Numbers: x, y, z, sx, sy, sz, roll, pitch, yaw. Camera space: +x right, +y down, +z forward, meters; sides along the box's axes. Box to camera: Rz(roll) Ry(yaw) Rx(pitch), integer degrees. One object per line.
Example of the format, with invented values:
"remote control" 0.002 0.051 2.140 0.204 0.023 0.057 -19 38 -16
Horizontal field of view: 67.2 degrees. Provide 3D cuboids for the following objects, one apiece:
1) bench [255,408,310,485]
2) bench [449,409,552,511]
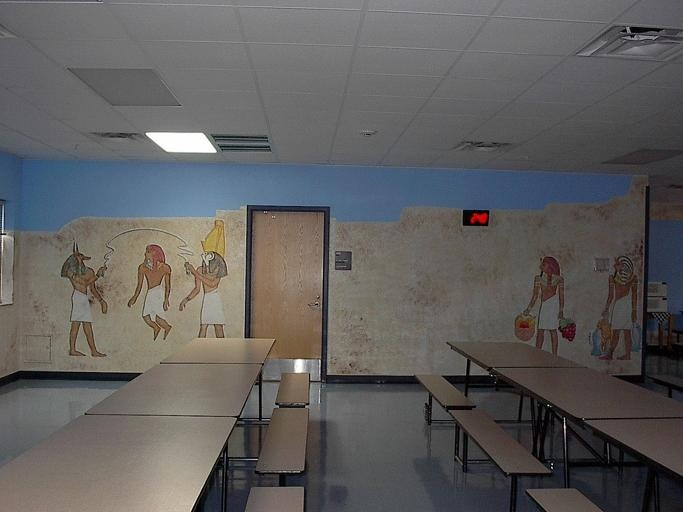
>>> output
"bench" -0.462 1.657 4.349 0.367 0.311 1.292 0 4 -3
"bench" 1.289 1.815 4.444 0.501 0.614 1.211 0 8 -2
